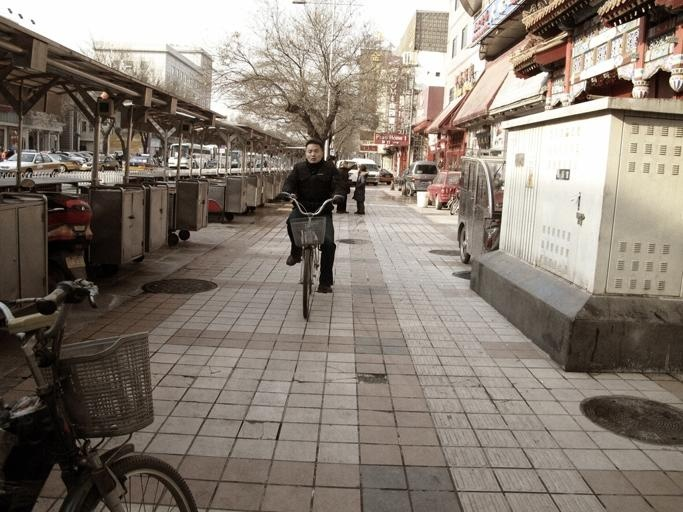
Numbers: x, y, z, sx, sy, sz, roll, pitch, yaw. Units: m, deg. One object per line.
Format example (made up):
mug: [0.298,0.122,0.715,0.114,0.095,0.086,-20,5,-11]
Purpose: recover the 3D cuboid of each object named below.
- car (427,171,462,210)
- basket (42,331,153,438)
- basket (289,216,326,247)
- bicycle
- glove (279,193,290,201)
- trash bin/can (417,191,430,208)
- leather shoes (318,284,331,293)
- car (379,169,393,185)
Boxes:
car: [5.698,-3.640,28.069,1.402,1.950,3.581,3,14,8]
basket: [-1.088,0.555,2.412,0.354,0.432,0.483,-6,7,-9]
basket: [-0.467,-0.328,6.902,0.436,0.328,0.352,1,-3,-20]
bicycle: [-0.453,-0.017,7.399,0.791,1.753,1.395,0,13,-4]
glove: [-0.820,-0.879,7.337,0.128,0.105,0.170,4,-8,4]
trash bin/can: [4.770,-3.292,29.541,0.812,1.006,0.853,2,13,3]
leather shoes: [-0.273,0.530,8.123,0.199,0.214,0.117,0,5,10]
car: [5.202,-9.049,59.064,1.317,1.620,2.974,2,13,4]
